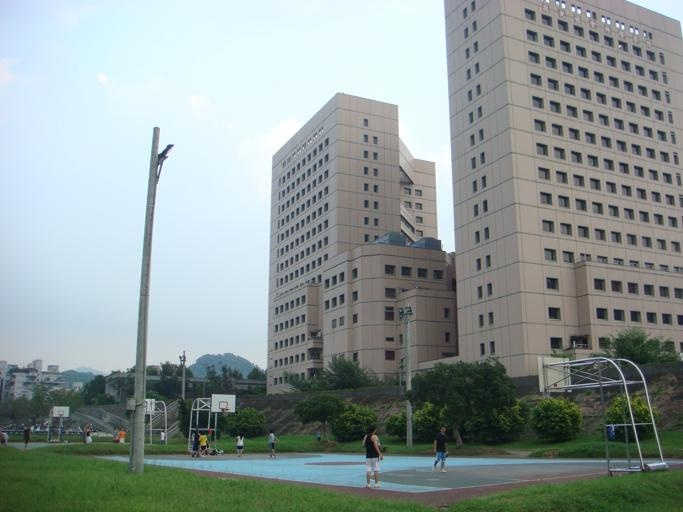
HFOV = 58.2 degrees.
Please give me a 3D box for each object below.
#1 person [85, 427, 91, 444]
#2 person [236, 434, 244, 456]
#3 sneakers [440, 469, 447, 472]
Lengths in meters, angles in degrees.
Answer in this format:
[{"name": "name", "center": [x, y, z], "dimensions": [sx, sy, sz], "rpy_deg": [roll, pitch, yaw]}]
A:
[{"name": "person", "center": [-23.992, 16.847, 57.975], "dimensions": [0.393, 1.472, 2.724], "rpy_deg": [6, -20, -24]}, {"name": "person", "center": [-8.192, 15.312, 49.449], "dimensions": [0.414, 1.530, 1.917], "rpy_deg": [3, -18, -14]}, {"name": "sneakers", "center": [5.635, 11.813, 33.712], "dimensions": [0.410, 0.262, 0.139], "rpy_deg": [-11, -16, 28]}]
